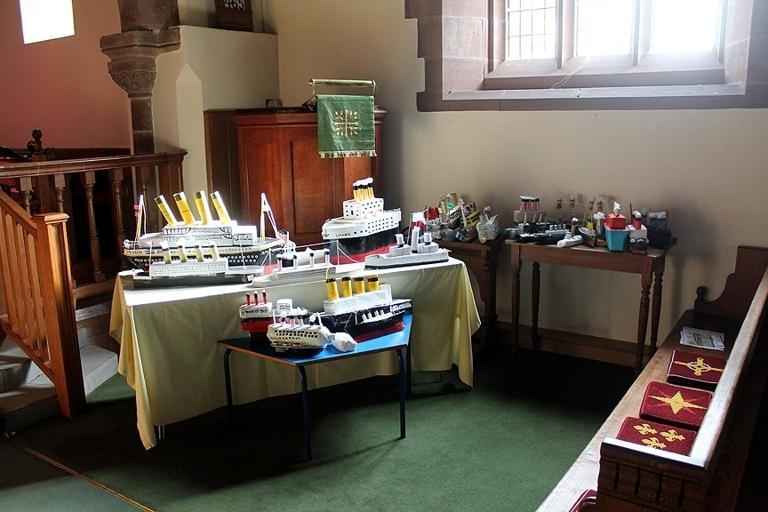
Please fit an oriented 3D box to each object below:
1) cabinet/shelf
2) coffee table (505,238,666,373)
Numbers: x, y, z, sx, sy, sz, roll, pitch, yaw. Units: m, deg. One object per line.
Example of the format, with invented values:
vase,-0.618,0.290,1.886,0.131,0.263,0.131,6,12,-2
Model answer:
cabinet/shelf,-0.892,-0.563,5.880,2.057,2.045,1.382,-1,17,-5
coffee table,1.811,0.434,4.827,1.011,0.914,0.436,6,12,34
